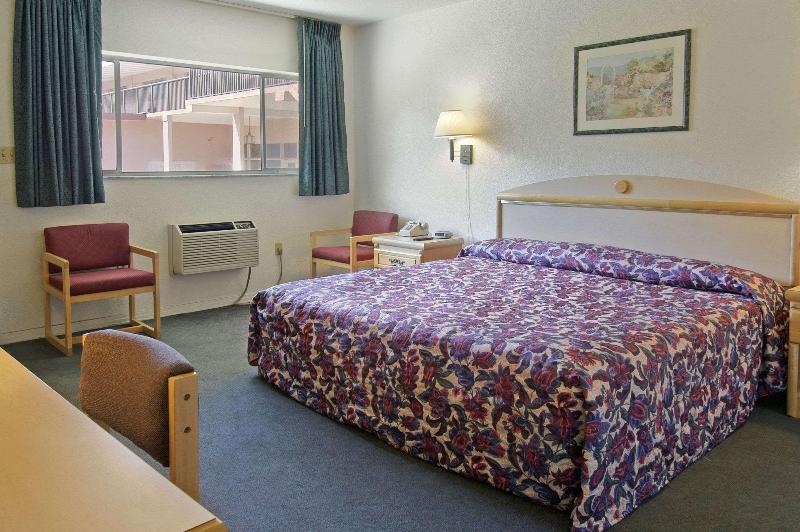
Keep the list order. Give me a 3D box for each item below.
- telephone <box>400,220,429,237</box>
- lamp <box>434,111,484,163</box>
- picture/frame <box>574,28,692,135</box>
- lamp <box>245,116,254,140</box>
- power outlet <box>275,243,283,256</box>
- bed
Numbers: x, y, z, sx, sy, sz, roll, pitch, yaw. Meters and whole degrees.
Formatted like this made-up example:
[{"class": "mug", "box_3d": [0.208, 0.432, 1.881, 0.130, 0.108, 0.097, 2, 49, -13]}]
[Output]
[{"class": "telephone", "box_3d": [0.158, -0.378, 6.001, 0.241, 0.147, 0.174, 0, 1, -37]}, {"class": "lamp", "box_3d": [0.576, -1.278, 5.797, 0.540, 0.544, 0.484, -5, 14, -15]}, {"class": "picture/frame", "box_3d": [1.946, -1.525, 4.785, 0.983, 0.761, 0.043, 4, 5, 40]}, {"class": "lamp", "box_3d": [-1.638, -1.498, 6.365, 0.137, 0.267, 0.041, -11, 17, -39]}, {"class": "power outlet", "box_3d": [-1.358, -0.192, 6.532, 0.056, 0.169, 0.125, 11, 14, 40]}, {"class": "bed", "box_3d": [0.752, 0.562, 3.780, 3.390, 1.017, 2.148, 3, 13, 15]}]
